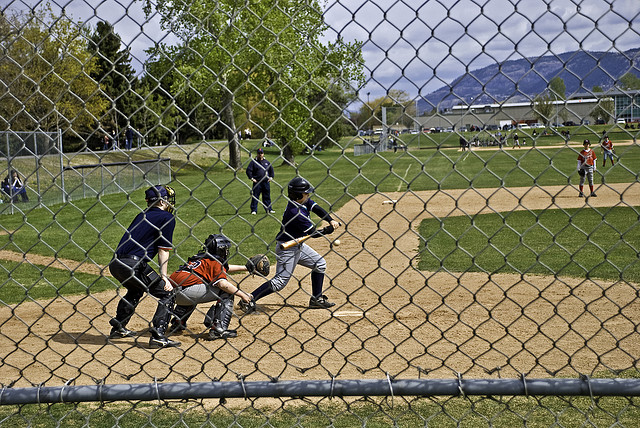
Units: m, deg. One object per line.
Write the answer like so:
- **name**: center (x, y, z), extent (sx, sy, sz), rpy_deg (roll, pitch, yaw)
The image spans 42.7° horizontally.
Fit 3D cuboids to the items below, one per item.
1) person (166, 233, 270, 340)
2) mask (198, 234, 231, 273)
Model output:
- **person**: center (-1.334, 0.936, 10.833), extent (1.536, 1.208, 0.906), rpy_deg (1, 2, -13)
- **mask**: center (-1.326, 0.485, 10.429), extent (0.394, 0.342, 0.298), rpy_deg (-5, -13, -26)
